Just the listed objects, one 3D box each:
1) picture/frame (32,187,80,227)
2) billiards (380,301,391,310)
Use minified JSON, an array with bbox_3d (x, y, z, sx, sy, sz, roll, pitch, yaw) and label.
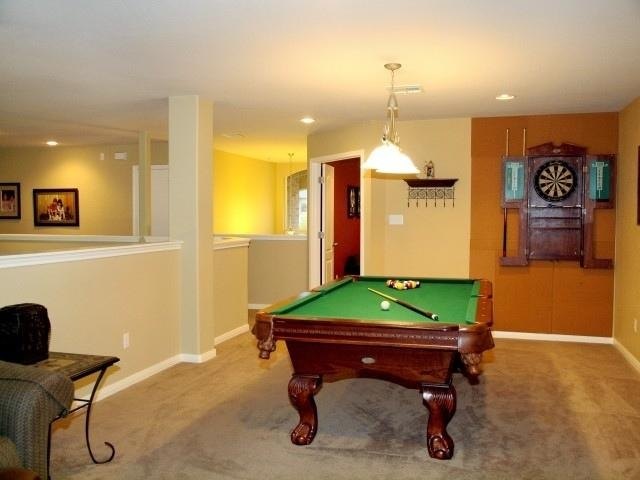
[{"bbox_3d":[-4.694,-0.585,8.675,0.775,0.646,0.031,0,1,2],"label":"picture/frame"},{"bbox_3d":[0.488,0.485,3.608,0.059,0.058,0.059,-1,5,-24],"label":"billiards"}]
